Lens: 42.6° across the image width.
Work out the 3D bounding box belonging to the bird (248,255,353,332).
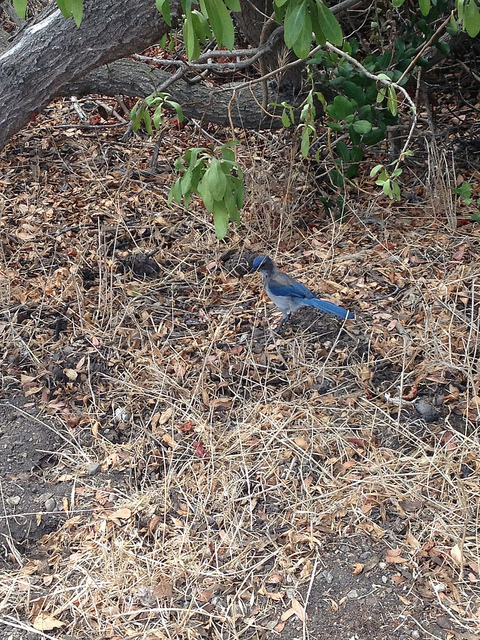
[{"bbox_3d":[0.361,-0.147,3.483,0.573,0.377,0.186,4,13,27],"label":"bird"}]
